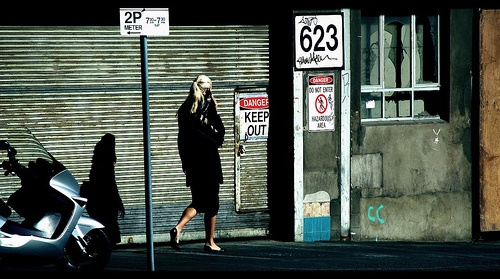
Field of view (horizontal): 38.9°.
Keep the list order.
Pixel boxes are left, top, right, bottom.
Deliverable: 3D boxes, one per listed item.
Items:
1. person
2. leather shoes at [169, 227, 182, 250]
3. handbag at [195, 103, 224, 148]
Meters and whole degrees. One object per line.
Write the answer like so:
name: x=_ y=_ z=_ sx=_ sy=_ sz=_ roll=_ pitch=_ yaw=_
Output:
person: x=-0.986 y=0.437 z=13.447 sx=0.957 sy=3.277 sz=0.402 roll=-1 pitch=-2 yaw=-5
leather shoes: x=-1.433 y=1.888 z=13.494 sx=0.188 sy=0.419 sz=0.163 roll=-1 pitch=1 yaw=1
handbag: x=-0.754 y=-0.253 z=13.311 sx=0.664 sy=0.757 sz=0.300 roll=-3 pitch=-5 yaw=22
